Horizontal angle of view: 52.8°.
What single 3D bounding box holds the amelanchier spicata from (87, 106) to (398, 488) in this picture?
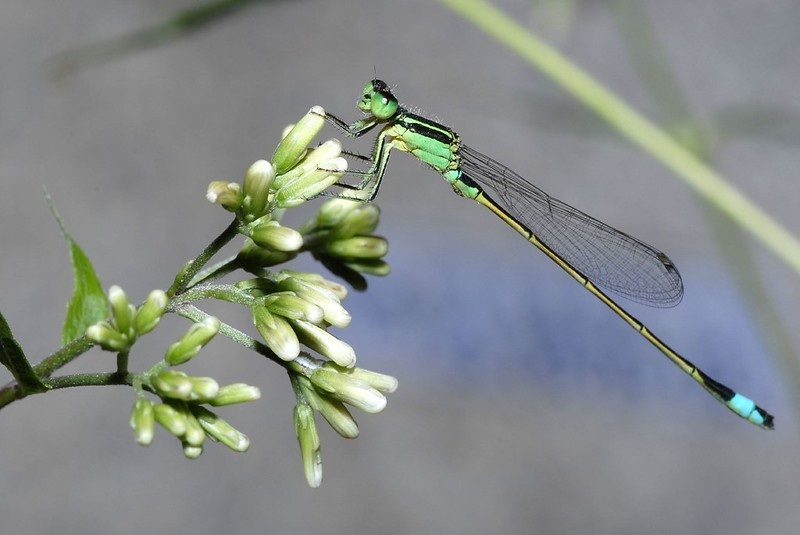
[{"bbox_3d":[-0.708,0.107,4.028,1.444,1.787,0.842,-2,15,-15],"label":"amelanchier spicata"}]
